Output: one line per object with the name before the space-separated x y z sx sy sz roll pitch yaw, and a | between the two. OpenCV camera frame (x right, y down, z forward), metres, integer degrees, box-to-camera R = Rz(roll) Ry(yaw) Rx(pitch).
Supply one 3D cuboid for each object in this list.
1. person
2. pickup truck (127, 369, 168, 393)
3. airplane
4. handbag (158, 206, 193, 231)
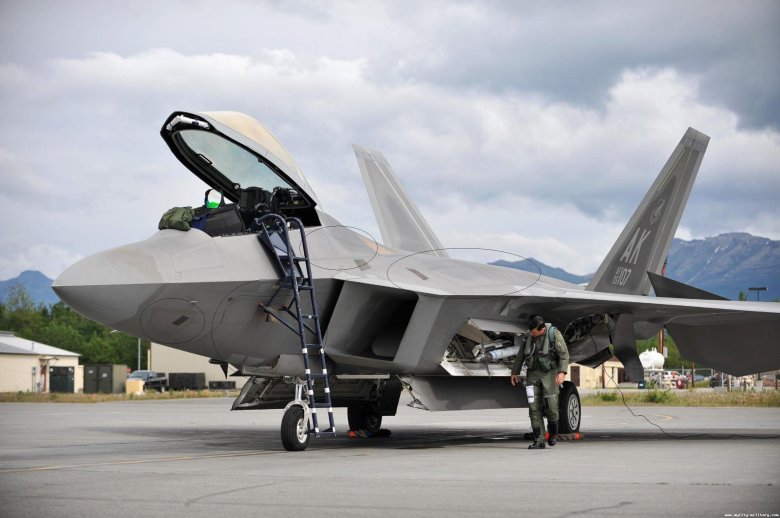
person | 2.439 1.974 10.505 0.854 2.061 0.571 1 -7 10
pickup truck | -14.878 7.213 38.380 1.461 0.878 2.435 -3 -10 18
airplane | 0.701 0.795 11.108 8.202 3.479 7.924 10 -16 -40
handbag | -3.268 -0.627 9.812 0.557 0.442 0.364 2 -7 -1
